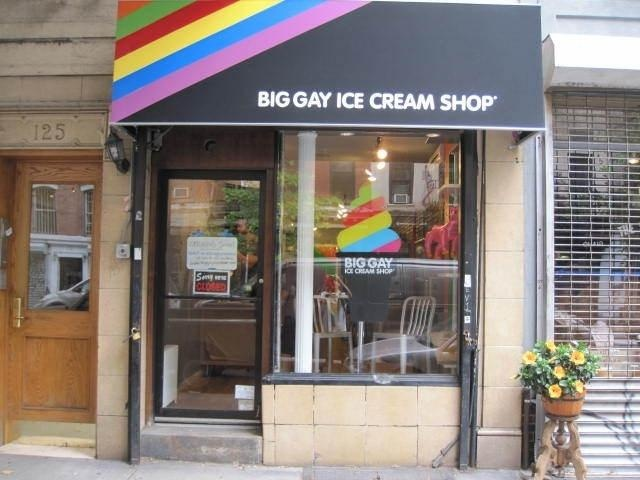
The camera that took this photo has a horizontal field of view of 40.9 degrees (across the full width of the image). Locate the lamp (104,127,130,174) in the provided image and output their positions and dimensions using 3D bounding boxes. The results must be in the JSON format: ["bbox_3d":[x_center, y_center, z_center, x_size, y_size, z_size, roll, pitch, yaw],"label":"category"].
[{"bbox_3d":[-2.319,-1.023,9.853,0.218,0.507,0.306,1,-1,14],"label":"lamp"}]

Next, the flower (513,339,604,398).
[{"bbox_3d":[2.556,1.382,9.237,0.693,0.477,0.663,-14,17,-36],"label":"flower"}]

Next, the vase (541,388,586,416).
[{"bbox_3d":[2.612,1.735,9.259,0.334,0.171,0.334,0,-7,-2],"label":"vase"}]
